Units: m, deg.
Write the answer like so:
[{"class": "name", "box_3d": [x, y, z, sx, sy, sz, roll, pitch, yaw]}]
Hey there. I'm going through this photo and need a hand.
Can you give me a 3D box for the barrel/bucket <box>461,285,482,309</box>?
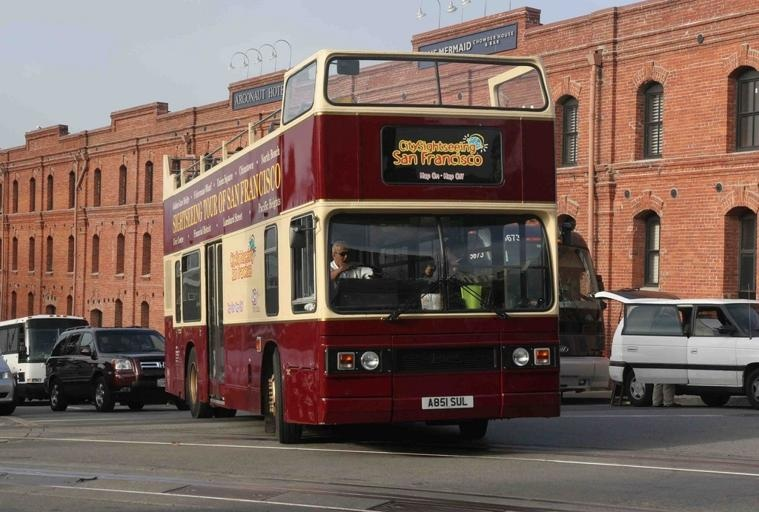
[{"class": "barrel/bucket", "box_3d": [1.421, 0.646, 16.441, 0.365, 0.359, 0.342, -1, -1, 0]}]
